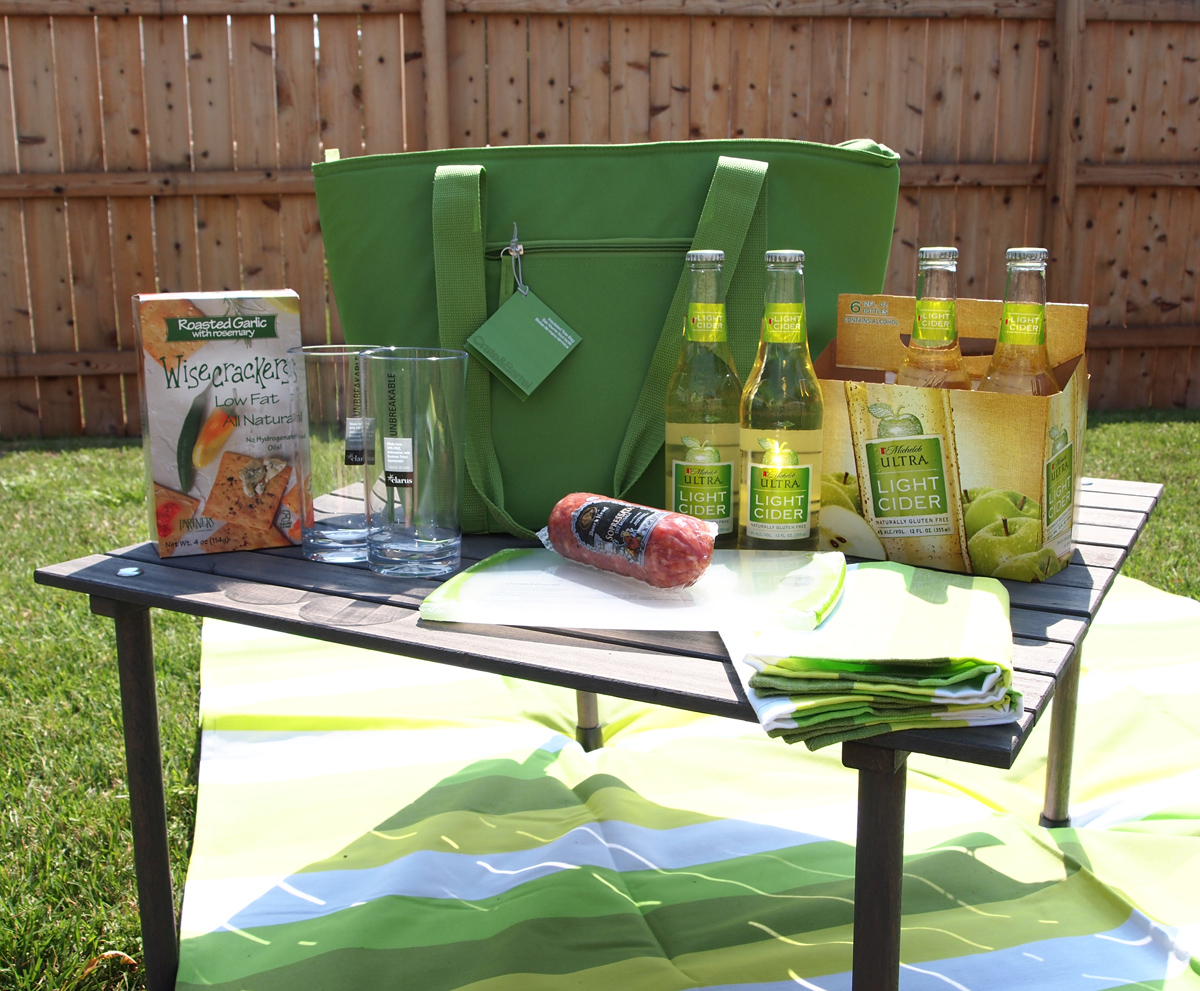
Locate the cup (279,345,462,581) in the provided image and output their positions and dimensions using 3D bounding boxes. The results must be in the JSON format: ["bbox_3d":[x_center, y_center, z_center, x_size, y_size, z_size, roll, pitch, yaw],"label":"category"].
[{"bbox_3d":[-0.284,-0.050,1.472,0.190,0.344,0.188,0,7,0],"label":"cup"}]

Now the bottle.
[{"bbox_3d":[0.364,-0.131,1.365,0.436,0.407,0.340,8,15,31],"label":"bottle"}]

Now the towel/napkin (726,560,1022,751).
[{"bbox_3d":[0.291,0.152,1.216,0.299,0.089,0.383,4,18,15],"label":"towel/napkin"}]

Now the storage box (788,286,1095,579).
[{"bbox_3d":[0.441,-0.048,1.410,0.308,0.424,0.228,5,10,33],"label":"storage box"}]
